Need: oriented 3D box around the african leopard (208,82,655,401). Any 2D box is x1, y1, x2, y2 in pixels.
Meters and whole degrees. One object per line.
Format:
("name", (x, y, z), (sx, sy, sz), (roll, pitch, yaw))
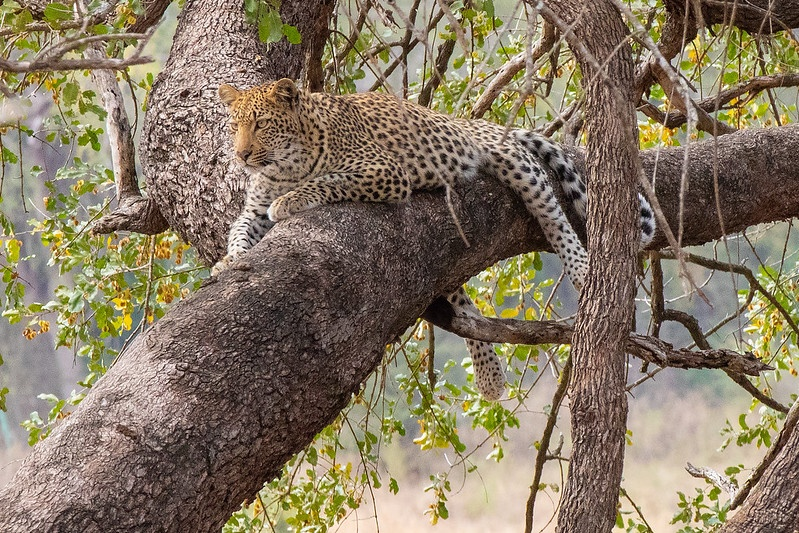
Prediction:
("african leopard", (0.245, -0.466, 8.757), (3.243, 1.351, 0.990), (10, -14, -33))
